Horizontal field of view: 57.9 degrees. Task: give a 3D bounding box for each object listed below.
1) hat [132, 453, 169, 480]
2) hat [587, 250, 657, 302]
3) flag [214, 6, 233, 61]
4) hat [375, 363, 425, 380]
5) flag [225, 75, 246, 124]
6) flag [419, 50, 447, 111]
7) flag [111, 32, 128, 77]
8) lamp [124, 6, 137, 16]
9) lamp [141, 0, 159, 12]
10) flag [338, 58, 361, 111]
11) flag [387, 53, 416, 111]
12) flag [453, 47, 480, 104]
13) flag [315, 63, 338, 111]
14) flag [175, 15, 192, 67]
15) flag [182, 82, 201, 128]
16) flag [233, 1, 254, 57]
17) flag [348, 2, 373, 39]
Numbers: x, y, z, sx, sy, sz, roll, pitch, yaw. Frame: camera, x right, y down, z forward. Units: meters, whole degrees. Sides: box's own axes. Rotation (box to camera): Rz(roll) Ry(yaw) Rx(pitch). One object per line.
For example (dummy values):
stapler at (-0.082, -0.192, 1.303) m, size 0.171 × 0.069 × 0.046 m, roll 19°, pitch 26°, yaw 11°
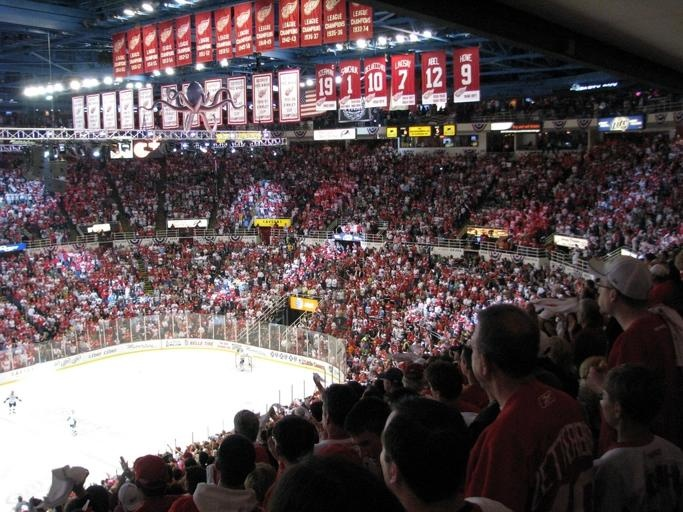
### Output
hat at (-2.014, 2.223, 6.492) m, size 0.350 × 0.212 × 0.337 m, roll -1°, pitch 9°, yaw -3°
hat at (2.513, 0.207, 5.665) m, size 0.357 × 0.289 × 0.533 m, roll -17°, pitch 37°, yaw -35°
flag at (-4.144, -7.855, 21.613) m, size 0.759 × 1.758 × 0.382 m, roll 4°, pitch 10°, yaw 26°
hat at (0.689, 1.379, 7.384) m, size 0.356 × 0.161 × 0.586 m, roll -1°, pitch -4°, yaw -43°
flag at (-4.183, -6.281, 24.722) m, size 0.803 × 1.840 × 0.677 m, roll -2°, pitch 9°, yaw -11°
flag at (3.288, -6.410, 22.052) m, size 0.818 × 1.807 × 0.567 m, roll 1°, pitch 9°, yaw 11°
flag at (-8.839, -8.113, 24.650) m, size 0.958 × 1.745 × 0.358 m, roll 7°, pitch 11°, yaw 40°
lamp at (-8.231, -9.608, 23.989) m, size 0.376 × 0.095 × 0.381 m, roll 2°, pitch -20°, yaw -36°
lamp at (-7.348, -9.487, 23.375) m, size 0.519 × 0.314 × 1.023 m, roll -7°, pitch 11°, yaw -34°
flag at (0.342, -6.476, 23.099) m, size 0.795 × 1.779 × 0.811 m, roll 0°, pitch 9°, yaw 1°
flag at (2.207, -6.463, 22.482) m, size 0.876 × 1.791 × 0.574 m, roll 2°, pitch 9°, yaw 14°
flag at (4.290, -6.315, 21.328) m, size 0.875 × 1.802 × 0.471 m, roll 2°, pitch 9°, yaw 14°
flag at (-0.620, -6.618, 24.072) m, size 1.030 × 1.779 × 0.527 m, roll 5°, pitch 10°, yaw 31°
flag at (-5.823, -8.043, 22.821) m, size 0.478 × 1.808 × 0.764 m, roll -8°, pitch 12°, yaw -41°
flag at (-6.265, -6.292, 25.745) m, size 0.458 × 1.620 × 1.520 m, roll -8°, pitch 29°, yaw -35°
flag at (-3.390, -7.815, 21.103) m, size 0.695 × 1.752 × 0.571 m, roll 1°, pitch 9°, yaw 8°
flag at (0.589, -7.269, 18.937) m, size 0.690 × 1.097 × 1.046 m, roll -1°, pitch 9°, yaw -1°
